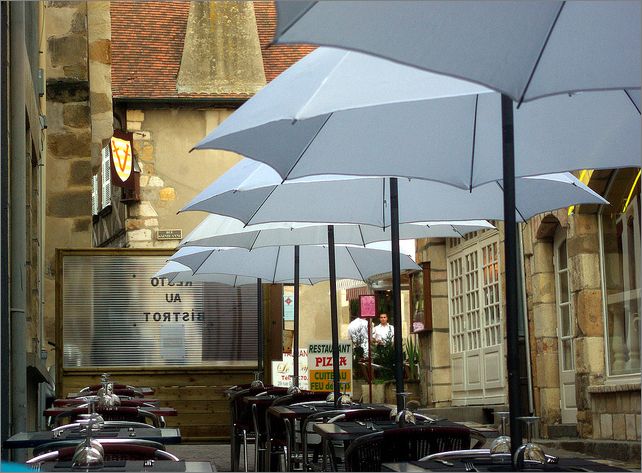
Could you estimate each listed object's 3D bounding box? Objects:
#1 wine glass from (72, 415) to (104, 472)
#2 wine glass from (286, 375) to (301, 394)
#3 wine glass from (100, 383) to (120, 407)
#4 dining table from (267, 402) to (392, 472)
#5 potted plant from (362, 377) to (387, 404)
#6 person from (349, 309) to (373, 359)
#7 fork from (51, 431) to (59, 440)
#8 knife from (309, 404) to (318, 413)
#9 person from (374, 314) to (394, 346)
[{"bbox_3d":[-1.554,1.392,7.178,0.208,0.321,0.318,1,-11,-13],"label":"wine glass"},{"bbox_3d":[-0.327,1.690,12.307,0.204,0.280,0.214,-1,-5,6],"label":"wine glass"},{"bbox_3d":[-1.891,1.440,9.615,0.189,0.264,0.156,1,-35,-6],"label":"wine glass"},{"bbox_3d":[-0.054,1.861,10.339,0.743,0.602,0.768,1,-5,-11],"label":"dining table"},{"bbox_3d":[1.096,3.065,21.011,0.565,0.600,0.562,0,-2,2],"label":"potted plant"},{"bbox_3d":[1.075,2.298,25.194,0.740,1.092,0.774,2,-6,-10],"label":"person"},{"bbox_3d":[-2.078,1.554,8.434,0.056,0.052,0.058,-2,-16,2],"label":"fork"},{"bbox_3d":[-0.058,1.681,10.533,0.072,0.076,0.061,-22,-6,-11],"label":"knife"},{"bbox_3d":[1.432,2.084,24.129,0.523,0.779,0.423,1,-8,6],"label":"person"}]
